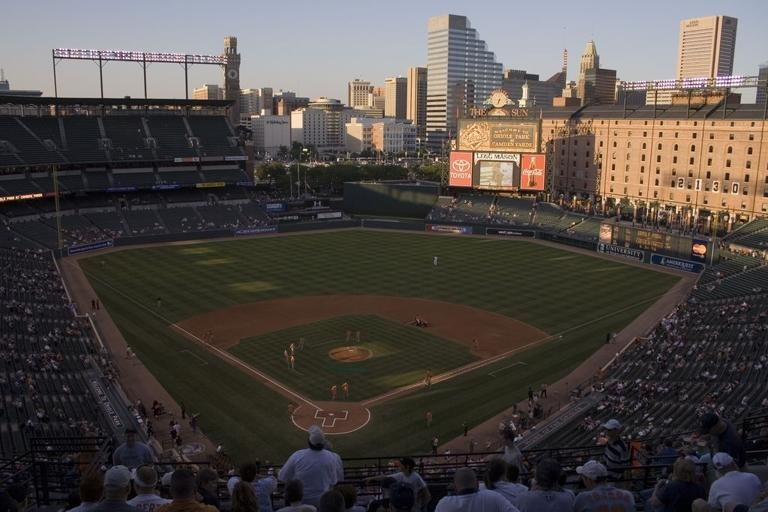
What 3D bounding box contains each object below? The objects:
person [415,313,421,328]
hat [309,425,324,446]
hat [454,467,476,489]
[{"bbox_3d":[3.001,5.981,68.418,0.494,1.335,0.555,-17,19,-11],"label":"person"},{"bbox_3d":[-2.758,7.328,30.502,0.745,0.529,1.024,4,18,-5],"label":"hat"},{"bbox_3d":[2.991,8.145,27.589,0.816,0.987,0.798,2,9,5],"label":"hat"}]
